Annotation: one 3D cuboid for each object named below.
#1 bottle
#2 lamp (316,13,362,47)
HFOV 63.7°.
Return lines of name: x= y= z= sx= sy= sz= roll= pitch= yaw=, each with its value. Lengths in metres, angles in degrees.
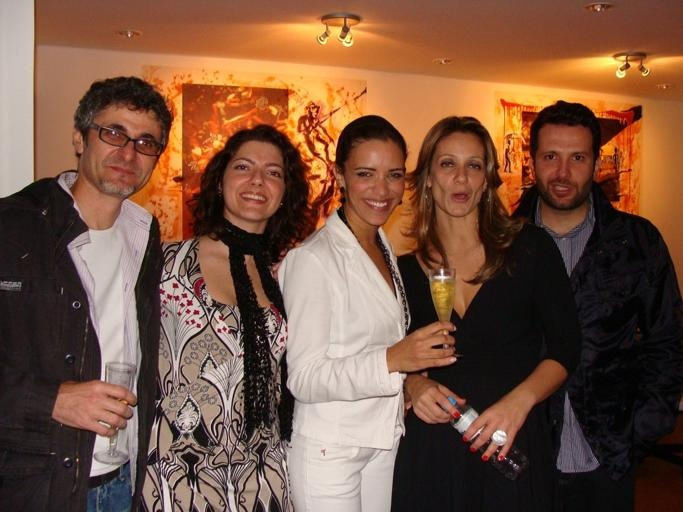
bottle: x=0.615 y=0.760 z=2.294 sx=0.464 sy=0.139 sz=0.143 roll=43 pitch=22 yaw=-18
lamp: x=-0.019 y=-2.221 z=5.490 sx=0.422 sy=0.272 sz=0.609 roll=1 pitch=2 yaw=-3
